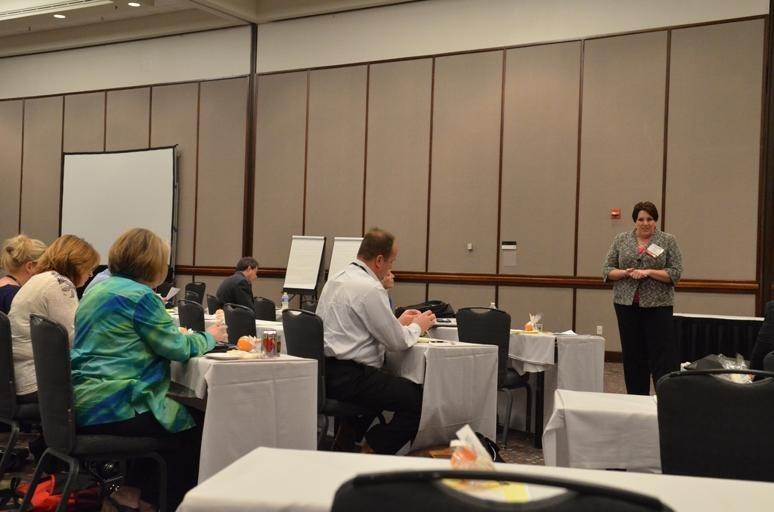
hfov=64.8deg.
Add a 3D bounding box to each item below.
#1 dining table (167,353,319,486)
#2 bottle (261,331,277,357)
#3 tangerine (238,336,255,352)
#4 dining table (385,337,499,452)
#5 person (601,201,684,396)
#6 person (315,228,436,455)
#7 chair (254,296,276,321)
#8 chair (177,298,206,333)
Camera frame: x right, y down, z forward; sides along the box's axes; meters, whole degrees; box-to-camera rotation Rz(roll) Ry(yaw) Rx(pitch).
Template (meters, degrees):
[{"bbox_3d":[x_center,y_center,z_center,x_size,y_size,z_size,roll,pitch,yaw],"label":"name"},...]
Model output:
[{"bbox_3d":[-0.857,0.778,3.693,0.593,0.646,0.810,-2,3,-36],"label":"dining table"},{"bbox_3d":[-0.723,0.534,3.692,0.141,0.152,0.088,0,-2,27],"label":"bottle"},{"bbox_3d":[-0.859,0.545,3.773,0.079,0.088,0.082,12,9,31],"label":"tangerine"},{"bbox_3d":[0.401,0.913,4.430,0.711,0.720,0.687,4,-5,-41],"label":"dining table"},{"bbox_3d":[2.251,0.368,5.397,0.624,1.692,0.573,-1,-2,44],"label":"person"},{"bbox_3d":[-0.118,0.593,4.209,0.726,1.560,0.412,1,-1,-5],"label":"person"},{"bbox_3d":[-1.302,0.589,6.635,0.211,0.235,0.572,1,-2,-24],"label":"chair"},{"bbox_3d":[-1.832,0.573,5.717,0.207,0.415,0.244,5,7,31],"label":"chair"}]
